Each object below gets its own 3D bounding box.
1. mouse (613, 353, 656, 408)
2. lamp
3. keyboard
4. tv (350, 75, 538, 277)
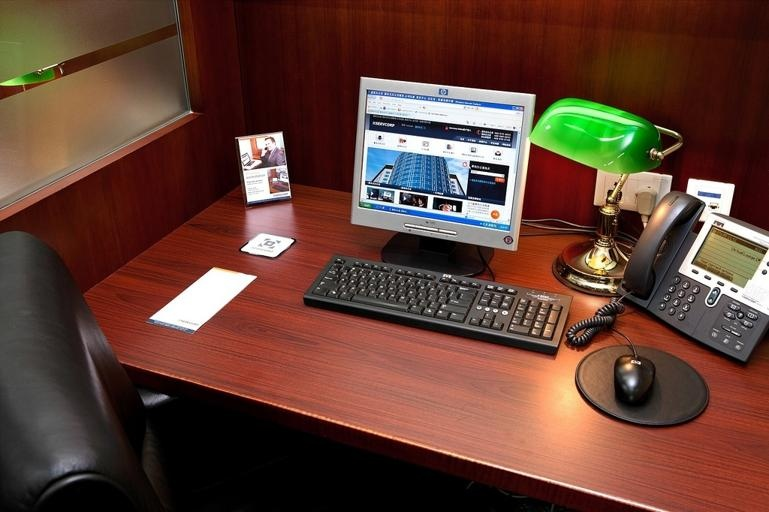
[{"bbox_3d":[0.591,0.269,1.184,0.101,0.055,0.174,-2,25,24],"label":"mouse"},{"bbox_3d":[0.640,-0.110,1.554,0.346,0.653,0.375,-16,34,-30],"label":"lamp"},{"bbox_3d":[0.127,0.116,1.421,0.697,0.054,0.240,9,31,19],"label":"keyboard"},{"bbox_3d":[0.179,-0.235,1.512,0.531,0.500,0.230,10,34,15],"label":"tv"}]
